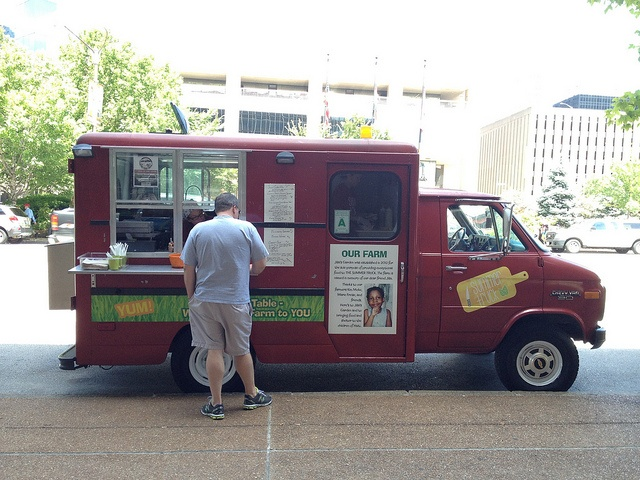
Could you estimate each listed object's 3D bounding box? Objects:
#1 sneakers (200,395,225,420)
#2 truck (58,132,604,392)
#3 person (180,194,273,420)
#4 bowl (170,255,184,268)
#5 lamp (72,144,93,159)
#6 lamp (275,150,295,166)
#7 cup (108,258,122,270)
[{"bbox_3d":[-1.242,1.970,7.860,0.131,0.157,0.340,3,2,-24],"label":"sneakers"},{"bbox_3d":[0.232,0.416,9.553,7.050,3.463,2.648,0,3,-4],"label":"truck"},{"bbox_3d":[-1.075,0.913,7.817,0.928,2.263,0.381,-1,9,-12],"label":"person"},{"bbox_3d":[-1.742,0.254,8.303,0.178,0.135,0.178,2,4,0],"label":"bowl"},{"bbox_3d":[-2.873,-1.062,8.225,0.238,0.163,0.155,1,9,4],"label":"lamp"},{"bbox_3d":[-0.422,-0.990,8.416,0.199,0.138,0.142,3,20,1],"label":"lamp"},{"bbox_3d":[-2.448,0.301,8.196,0.124,0.137,0.141,5,4,19],"label":"cup"}]
